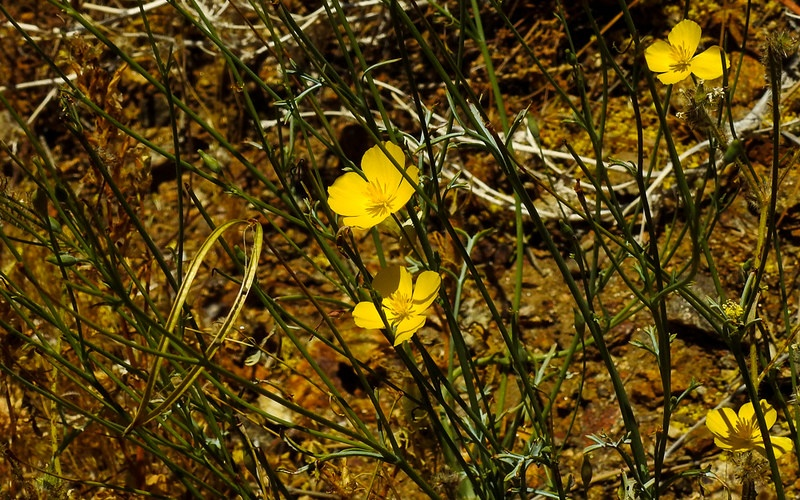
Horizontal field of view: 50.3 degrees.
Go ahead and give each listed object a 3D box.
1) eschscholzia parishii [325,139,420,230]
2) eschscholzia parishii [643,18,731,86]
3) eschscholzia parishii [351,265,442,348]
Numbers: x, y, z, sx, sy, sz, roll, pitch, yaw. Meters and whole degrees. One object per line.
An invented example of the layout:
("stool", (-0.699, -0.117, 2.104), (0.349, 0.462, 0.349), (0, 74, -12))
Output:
("eschscholzia parishii", (-0.061, -0.187, 2.410), (0.300, 0.162, 0.325), (-31, -6, -9))
("eschscholzia parishii", (0.775, -0.522, 2.339), (0.289, 0.113, 0.230), (1, -1, -14))
("eschscholzia parishii", (-0.002, 0.140, 2.317), (0.238, 0.125, 0.226), (-7, 13, 23))
